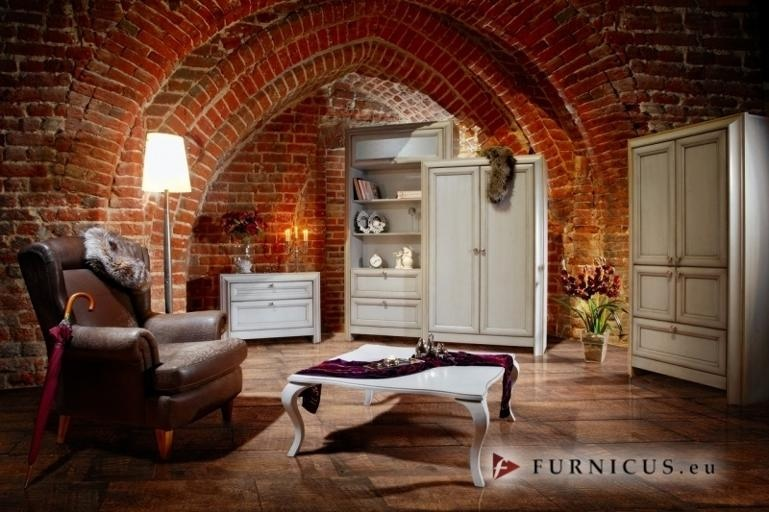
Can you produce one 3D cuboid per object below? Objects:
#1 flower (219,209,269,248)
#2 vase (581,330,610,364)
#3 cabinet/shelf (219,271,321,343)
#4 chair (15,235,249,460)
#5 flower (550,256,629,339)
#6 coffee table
[{"bbox_3d":[-1.934,-0.368,7.352,0.549,0.438,0.530,2,3,-15],"label":"flower"},{"bbox_3d":[2.517,1.055,6.418,0.392,0.438,0.329,-2,-4,35],"label":"vase"},{"bbox_3d":[-1.515,0.647,7.074,1.050,0.719,0.386,0,-2,-18],"label":"cabinet/shelf"},{"bbox_3d":[-2.095,0.680,4.673,1.586,1.537,1.423,2,3,11],"label":"chair"},{"bbox_3d":[2.419,0.504,6.335,0.700,0.810,0.695,-4,-2,-1],"label":"flower"},{"bbox_3d":[0.201,1.192,4.435,1.669,0.638,1.120,3,13,15],"label":"coffee table"}]
